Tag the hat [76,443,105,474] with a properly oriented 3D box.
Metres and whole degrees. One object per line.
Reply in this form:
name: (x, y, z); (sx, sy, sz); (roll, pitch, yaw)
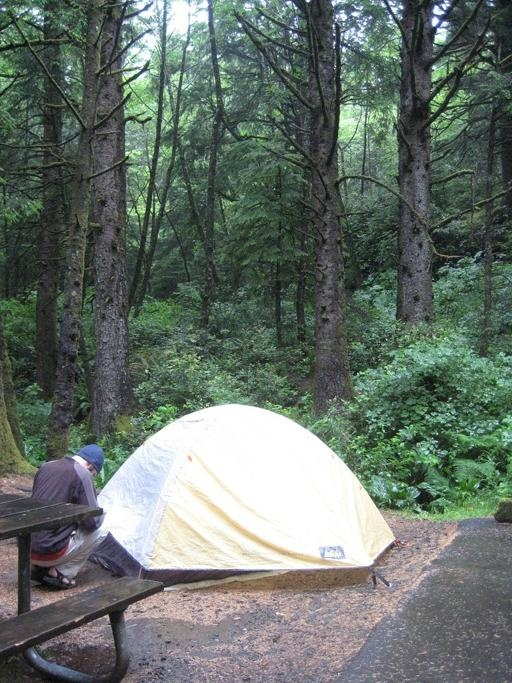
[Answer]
hat: (-1.409, 1.024, 5.976); (0.242, 0.165, 0.260); (41, -1, 22)
